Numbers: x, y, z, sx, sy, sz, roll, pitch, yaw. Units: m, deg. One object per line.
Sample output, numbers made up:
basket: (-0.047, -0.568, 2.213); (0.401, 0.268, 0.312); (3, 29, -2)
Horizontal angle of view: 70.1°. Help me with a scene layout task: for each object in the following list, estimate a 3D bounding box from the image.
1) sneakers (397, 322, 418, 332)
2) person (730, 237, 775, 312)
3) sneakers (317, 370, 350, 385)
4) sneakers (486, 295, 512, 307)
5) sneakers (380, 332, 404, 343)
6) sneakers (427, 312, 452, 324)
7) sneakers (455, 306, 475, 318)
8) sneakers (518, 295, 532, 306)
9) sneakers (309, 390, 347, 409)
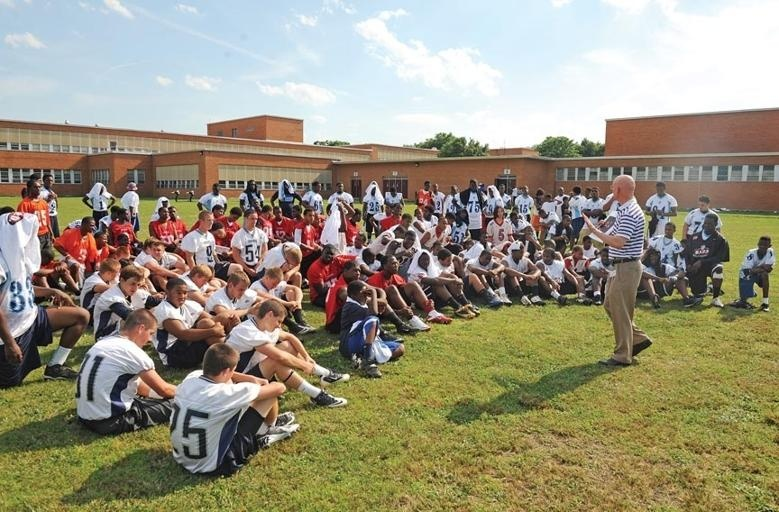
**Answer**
sneakers: (0.293, 1.177, 9.247); (0.400, 0.165, 0.133); (-1, 1, -4)
person: (6.924, 0.303, 10.598); (0.591, 1.340, 0.828); (6, 8, 37)
sneakers: (-0.754, 1.654, 7.644); (0.418, 0.161, 0.164); (-2, 6, -13)
sneakers: (2.130, 0.853, 10.805); (0.477, 0.185, 0.204); (0, 4, 34)
sneakers: (0.031, 1.241, 8.588); (0.417, 0.170, 0.137); (3, 3, -1)
sneakers: (0.867, 1.069, 9.761); (0.511, 0.214, 0.170); (3, 8, 4)
sneakers: (1.375, 1.004, 10.095); (0.289, 0.120, 0.186); (3, 11, 22)
sneakers: (2.678, 0.876, 10.991); (0.165, 0.204, 0.486); (-1, 2, 9)
sneakers: (-0.770, 1.845, 7.194); (0.465, 0.192, 0.184); (-1, 5, -1)
